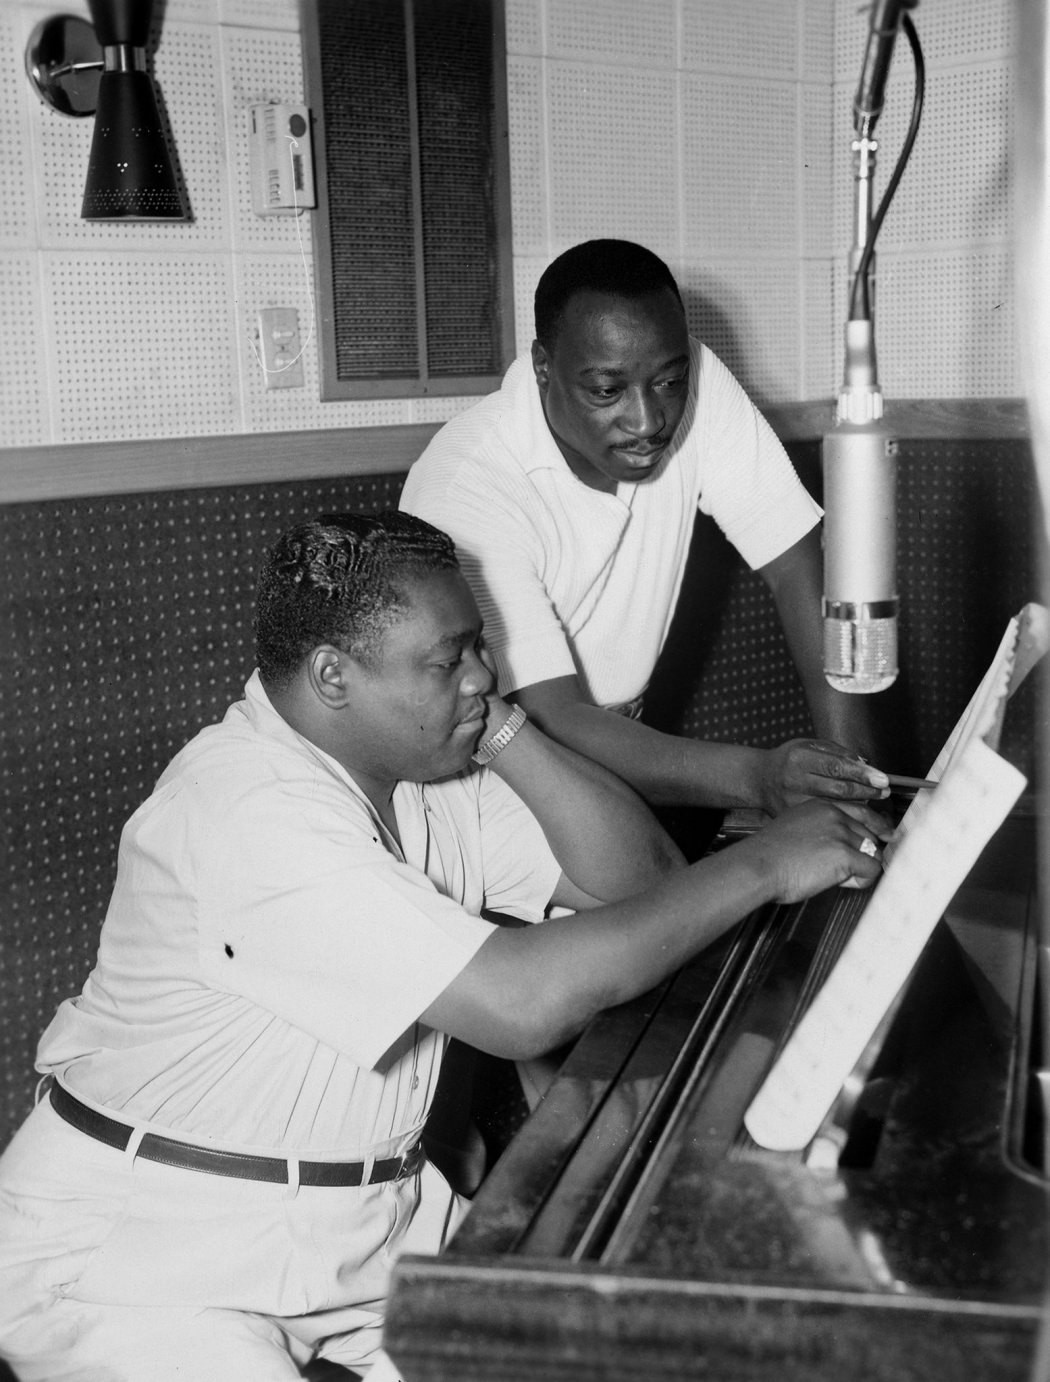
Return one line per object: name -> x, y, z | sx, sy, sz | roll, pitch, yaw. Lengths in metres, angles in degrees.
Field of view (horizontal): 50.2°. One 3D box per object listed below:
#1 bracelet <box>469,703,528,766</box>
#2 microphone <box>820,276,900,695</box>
bracelet -> -0.029, 0.059, 1.543 | 0.067, 0.074, 0.062 | 16, -25, -32
microphone -> 0.234, -0.135, 0.781 | 0.051, 0.276, 0.126 | 2, 5, 17
